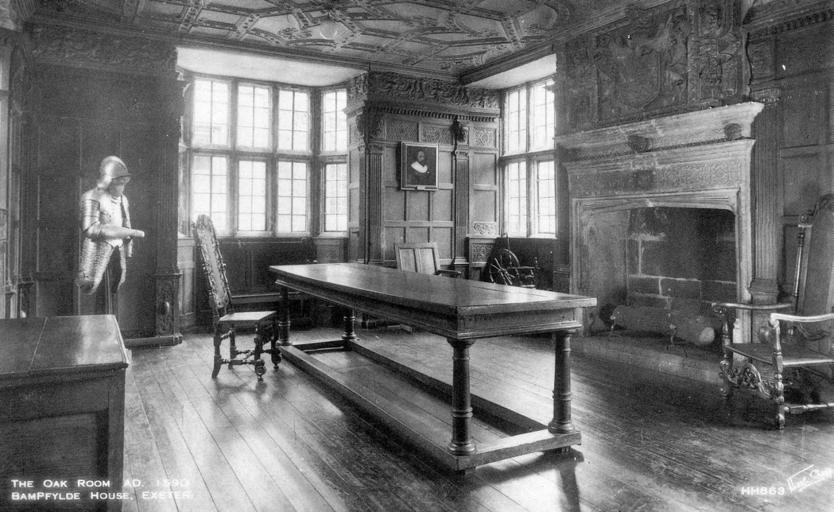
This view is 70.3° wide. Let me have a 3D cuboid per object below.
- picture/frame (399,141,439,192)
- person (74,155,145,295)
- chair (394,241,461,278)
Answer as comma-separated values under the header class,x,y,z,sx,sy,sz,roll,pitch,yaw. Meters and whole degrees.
class,x,y,z,sx,sy,sz,roll,pitch,yaw
picture/frame,0.009,-1.580,10.366,0.945,0.893,0.126,4,-5,-30
person,-4.037,-0.361,7.575,0.785,1.762,0.621,-9,17,-29
chair,0.069,0.047,10.208,0.720,1.051,0.768,0,-2,-31
